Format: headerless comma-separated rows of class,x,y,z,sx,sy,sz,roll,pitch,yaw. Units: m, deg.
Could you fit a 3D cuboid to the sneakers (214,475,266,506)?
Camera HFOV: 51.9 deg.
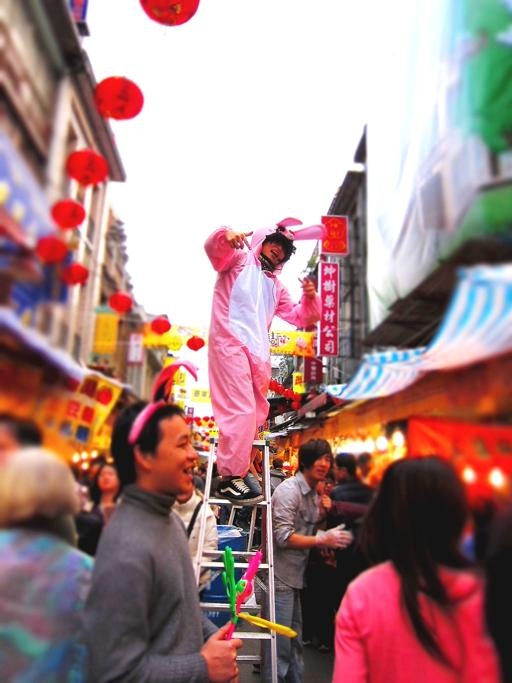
sneakers,-0.091,0.757,2.652,0.283,0.135,0.105,-9,-14,35
